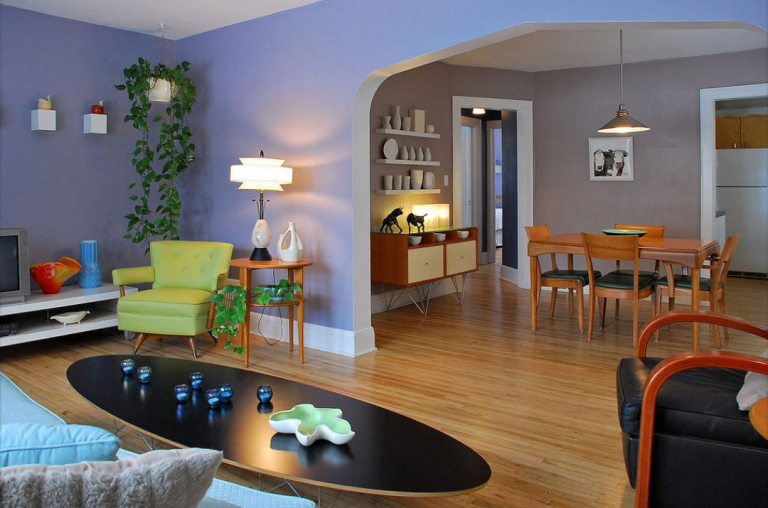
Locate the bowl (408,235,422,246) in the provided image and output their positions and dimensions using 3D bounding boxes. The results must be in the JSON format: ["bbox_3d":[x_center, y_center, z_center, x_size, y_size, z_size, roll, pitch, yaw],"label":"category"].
[{"bbox_3d":[0.351,-0.149,6.234,0.122,0.079,0.121,-1,-1,0],"label":"bowl"}]

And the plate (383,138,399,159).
[{"bbox_3d":[0.071,-1.264,6.541,0.143,0.245,0.296,3,13,17],"label":"plate"}]

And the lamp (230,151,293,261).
[{"bbox_3d":[-1.155,-0.487,5.294,0.538,1.022,0.631,-2,12,-5],"label":"lamp"}]

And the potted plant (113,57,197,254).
[{"bbox_3d":[-2.499,-1.117,6.033,0.889,2.125,0.712,-6,13,-24],"label":"potted plant"}]

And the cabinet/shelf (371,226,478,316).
[{"bbox_3d":[0.559,0.167,6.858,0.539,0.967,1.668,5,8,39],"label":"cabinet/shelf"}]

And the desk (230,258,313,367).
[{"bbox_3d":[-0.994,0.532,5.416,0.939,1.101,0.912,-2,5,-27],"label":"desk"}]

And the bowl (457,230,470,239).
[{"bbox_3d":[1.010,-0.248,6.913,0.116,0.071,0.115,-2,-1,0],"label":"bowl"}]

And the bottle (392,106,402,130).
[{"bbox_3d":[0.157,-1.658,6.564,0.098,0.288,0.199,8,15,36],"label":"bottle"}]

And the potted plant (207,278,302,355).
[{"bbox_3d":[-1.254,0.589,5.173,0.775,0.811,0.859,-3,8,-36],"label":"potted plant"}]
